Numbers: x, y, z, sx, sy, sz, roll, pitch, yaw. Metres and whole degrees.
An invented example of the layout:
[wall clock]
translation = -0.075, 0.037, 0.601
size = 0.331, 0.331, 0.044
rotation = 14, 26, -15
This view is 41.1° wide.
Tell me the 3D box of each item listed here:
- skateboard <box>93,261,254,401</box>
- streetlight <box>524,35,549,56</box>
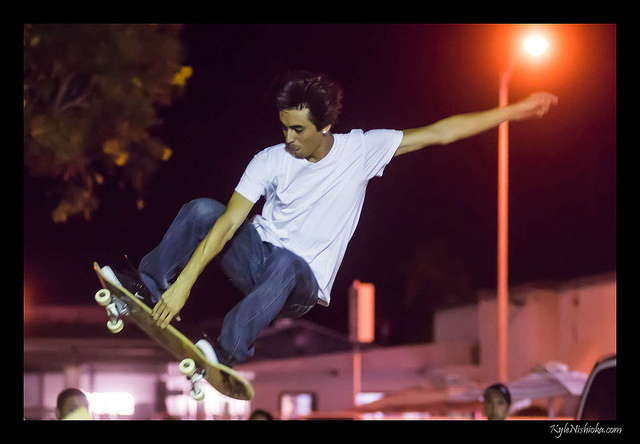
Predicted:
[skateboard]
translation = -1.191, 0.902, 7.295
size = 0.246, 1.304, 0.365
rotation = -41, -11, -32
[streetlight]
translation = 1.895, -1.546, 7.451
size = 0.164, 0.179, 0.041
rotation = 11, 0, -3
